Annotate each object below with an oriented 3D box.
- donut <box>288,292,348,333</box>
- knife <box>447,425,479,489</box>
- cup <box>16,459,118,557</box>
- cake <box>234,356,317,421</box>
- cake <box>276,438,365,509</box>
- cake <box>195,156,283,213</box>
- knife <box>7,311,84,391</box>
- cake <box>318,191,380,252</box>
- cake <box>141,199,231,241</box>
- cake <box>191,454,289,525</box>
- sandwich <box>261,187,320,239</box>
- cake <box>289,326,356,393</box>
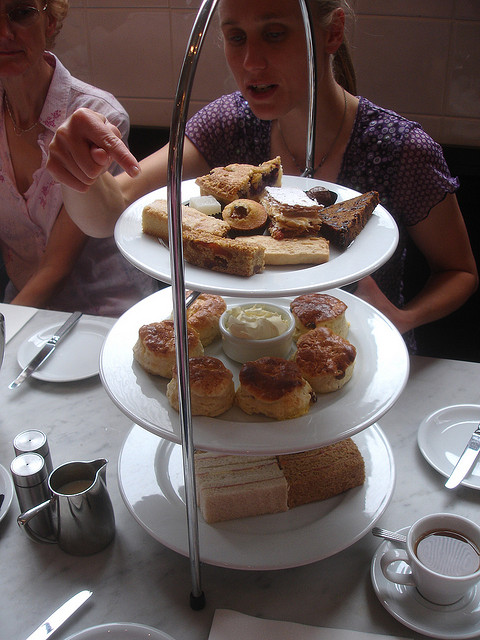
[{"bbox_3d":[0.102,-0.007,0.737,0.080,0.037,0.077,-8,27,-7],"label":"donut"},{"bbox_3d":[0.290,0.174,0.723,0.022,0.011,0.151,21,29,25],"label":"knife"},{"bbox_3d":[-0.193,0.218,0.630,0.066,0.088,0.106,22,31,35],"label":"cup"},{"bbox_3d":[0.040,0.063,0.635,0.104,0.055,0.071,-10,18,-28],"label":"cake"},{"bbox_3d":[0.098,0.185,0.691,0.107,0.049,0.055,-11,35,-14],"label":"cake"},{"bbox_3d":[0.002,-0.186,0.742,0.110,0.035,0.073,-34,48,-30],"label":"cake"},{"bbox_3d":[-0.335,0.047,0.983,0.029,0.008,0.196,13,30,11],"label":"knife"},{"bbox_3d":[0.117,-0.120,0.644,0.059,0.027,0.166,10,34,17],"label":"cake"},{"bbox_3d":[-0.064,-0.107,0.625,0.091,0.026,0.050,22,36,7],"label":"cake"},{"bbox_3d":[-0.002,0.193,0.675,0.104,0.049,0.082,-8,34,-10],"label":"cake"},{"bbox_3d":[0.065,-0.129,0.645,0.052,0.025,0.071,-4,39,-8],"label":"sandwich"},{"bbox_3d":[0.095,0.043,0.640,0.080,0.061,0.071,-13,27,-31],"label":"cake"}]
